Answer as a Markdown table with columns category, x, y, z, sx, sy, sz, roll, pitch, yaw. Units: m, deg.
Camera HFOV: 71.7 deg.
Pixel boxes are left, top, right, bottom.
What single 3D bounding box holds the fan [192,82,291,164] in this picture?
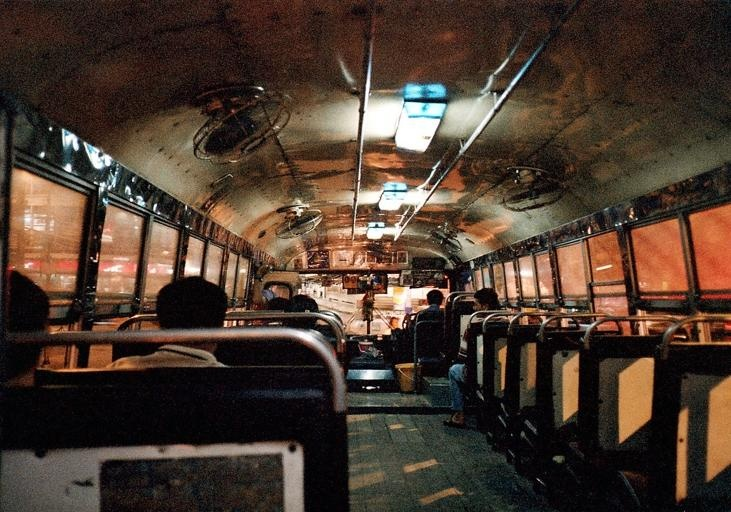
| category | x | y | z | sx | sy | sz | roll | pitch | yaw |
| --- | --- | --- | --- | --- | --- | --- | --- | --- | --- |
| fan | -1.631 | -1.704 | 6.664 | 1.231 | 0.697 | 1.697 | 2 | 2 | -18 |

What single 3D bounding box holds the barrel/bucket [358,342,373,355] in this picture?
| category | x | y | z | sx | sy | sz | roll | pitch | yaw |
| --- | --- | --- | --- | --- | --- | --- | --- | --- | --- |
| barrel/bucket | -0.008 | 2.100 | 11.560 | 0.275 | 0.205 | 0.238 | 1 | -17 | -1 |

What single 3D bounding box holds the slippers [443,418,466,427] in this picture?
| category | x | y | z | sx | sy | sz | roll | pitch | yaw |
| --- | --- | --- | --- | --- | --- | --- | --- | --- | --- |
| slippers | 1.293 | 2.439 | 7.373 | 0.338 | 0.104 | 0.109 | 3 | -9 | 10 |

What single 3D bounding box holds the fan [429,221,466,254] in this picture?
| category | x | y | z | sx | sy | sz | roll | pitch | yaw |
| --- | --- | --- | --- | --- | --- | --- | --- | --- | --- |
| fan | 2.537 | -0.598 | 15.644 | 0.721 | 0.300 | 1.111 | -10 | -36 | 35 |

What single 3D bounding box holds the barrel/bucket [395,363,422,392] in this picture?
| category | x | y | z | sx | sy | sz | roll | pitch | yaw |
| --- | --- | --- | --- | --- | --- | --- | --- | --- | --- |
| barrel/bucket | 0.785 | 2.214 | 9.356 | 0.415 | 0.545 | 0.508 | 3 | 2 | -7 |
